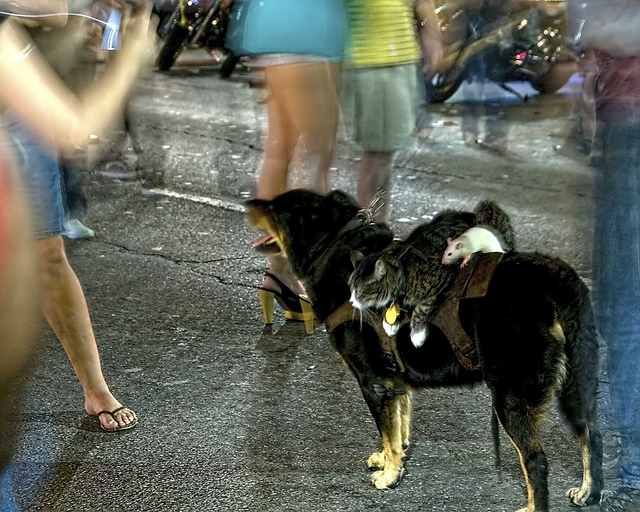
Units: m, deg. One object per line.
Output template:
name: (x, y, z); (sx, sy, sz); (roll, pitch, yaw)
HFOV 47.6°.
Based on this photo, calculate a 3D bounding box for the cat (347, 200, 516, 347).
cat: (0.435, 0.052, 2.780); (0.582, 0.508, 0.268); (-12, 30, -25)

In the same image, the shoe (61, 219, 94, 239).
shoe: (-1.860, -0.246, 5.579); (0.215, 0.148, 0.300); (-7, 26, -17)

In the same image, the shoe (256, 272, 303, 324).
shoe: (-0.181, 0.252, 4.405); (0.448, 0.271, 0.224); (-1, -4, -35)

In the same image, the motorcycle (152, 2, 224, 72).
motorcycle: (-1.822, -3.033, 10.068); (0.764, 1.012, 1.230); (-11, 28, -22)
